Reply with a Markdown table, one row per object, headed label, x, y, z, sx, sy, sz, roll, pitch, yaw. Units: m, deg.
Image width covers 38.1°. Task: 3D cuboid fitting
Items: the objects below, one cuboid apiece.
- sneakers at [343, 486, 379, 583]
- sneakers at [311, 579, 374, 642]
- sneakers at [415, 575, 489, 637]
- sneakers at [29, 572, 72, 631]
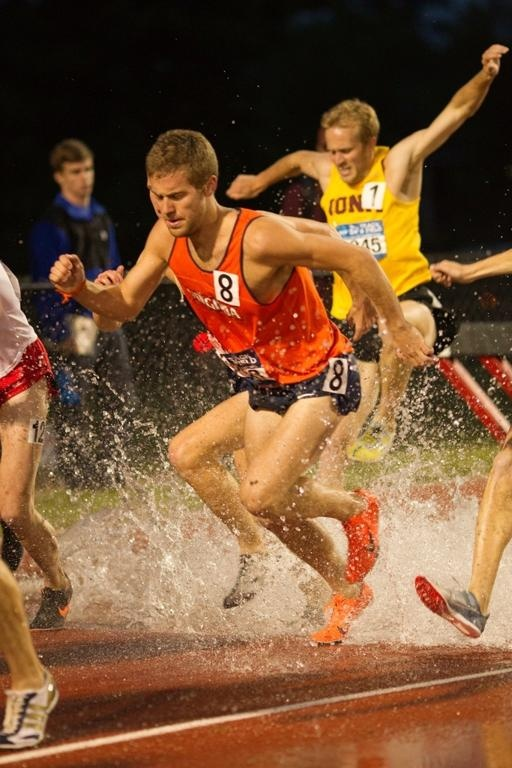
| label | x | y | z | sx | sy | sz | roll | pitch | yaw |
| --- | --- | --- | --- | --- | --- | --- | --- | --- | --- |
| sneakers | 0.403 | 0.566 | 2.798 | 0.164 | 0.131 | 0.345 | 4 | 69 | -9 |
| sneakers | 0.272 | 0.795 | 2.614 | 0.101 | 0.127 | 0.298 | -10 | 14 | 40 |
| sneakers | 0.590 | 0.663 | 2.214 | 0.210 | 0.225 | 0.107 | -3 | 40 | 7 |
| sneakers | -0.758 | 0.838 | 2.732 | 0.116 | 0.155 | 0.223 | -5 | 38 | 5 |
